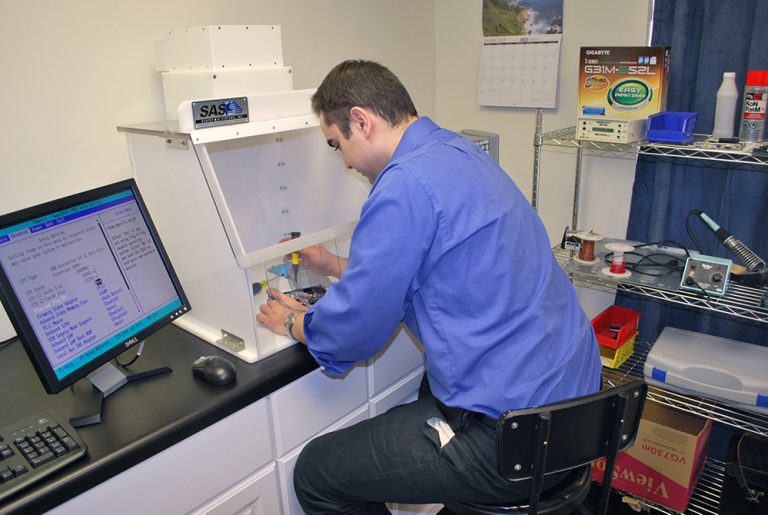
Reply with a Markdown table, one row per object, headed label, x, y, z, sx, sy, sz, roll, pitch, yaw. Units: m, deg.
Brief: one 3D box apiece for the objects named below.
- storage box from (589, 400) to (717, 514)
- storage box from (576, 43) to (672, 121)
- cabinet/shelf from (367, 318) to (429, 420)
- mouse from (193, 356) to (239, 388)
| label | x | y | z | sx | sy | sz | roll | pitch | yaw |
| --- | --- | --- | --- | --- | --- | --- | --- | --- | --- |
| storage box | 1.321 | 0.770 | 2.646 | 0.565 | 0.525 | 0.579 | 11 | 15 | 35 |
| storage box | 1.105 | -0.803 | 2.423 | 0.369 | 0.341 | 0.122 | 5 | 11 | 30 |
| cabinet/shelf | 0.042 | 0.415 | 1.970 | 0.111 | 0.318 | 0.328 | 17 | 28 | 37 |
| mouse | -0.580 | 0.365 | 1.775 | 0.136 | 0.053 | 0.081 | 16 | 21 | 38 |
